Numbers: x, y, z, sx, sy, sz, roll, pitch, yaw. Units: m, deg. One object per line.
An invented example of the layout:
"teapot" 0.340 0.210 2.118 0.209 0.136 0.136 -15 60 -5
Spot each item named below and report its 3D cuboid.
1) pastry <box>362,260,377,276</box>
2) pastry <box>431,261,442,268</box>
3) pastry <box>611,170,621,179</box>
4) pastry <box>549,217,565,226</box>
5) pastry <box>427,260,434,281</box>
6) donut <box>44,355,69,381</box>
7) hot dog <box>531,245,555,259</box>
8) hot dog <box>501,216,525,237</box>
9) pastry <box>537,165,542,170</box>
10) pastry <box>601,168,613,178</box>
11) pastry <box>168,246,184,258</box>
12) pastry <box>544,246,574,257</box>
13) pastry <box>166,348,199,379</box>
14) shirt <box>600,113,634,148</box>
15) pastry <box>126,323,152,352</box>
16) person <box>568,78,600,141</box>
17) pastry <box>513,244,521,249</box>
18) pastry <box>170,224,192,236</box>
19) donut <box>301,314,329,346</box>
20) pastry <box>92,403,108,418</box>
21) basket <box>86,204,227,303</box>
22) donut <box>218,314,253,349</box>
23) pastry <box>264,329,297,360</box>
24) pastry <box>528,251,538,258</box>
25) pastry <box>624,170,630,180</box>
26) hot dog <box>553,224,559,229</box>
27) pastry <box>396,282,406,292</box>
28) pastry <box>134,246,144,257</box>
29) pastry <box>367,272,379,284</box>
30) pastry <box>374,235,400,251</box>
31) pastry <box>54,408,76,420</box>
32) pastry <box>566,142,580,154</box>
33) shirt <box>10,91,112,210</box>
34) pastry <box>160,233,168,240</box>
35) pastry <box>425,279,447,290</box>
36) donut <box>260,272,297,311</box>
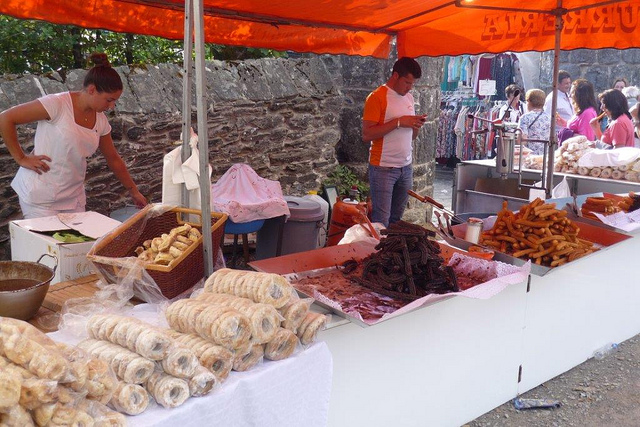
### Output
"pastry" 0.307 0.341 3.005 0.092 0.090 0.030 -28 -36 13
"pastry" 0.721 0.316 2.940 0.036 0.041 0.048 -1 -1 -2
"pastry" 3.843 -0.513 6.160 0.095 0.069 0.093 -16 35 -7
"pastry" 1.812 0.056 3.647 0.128 0.055 0.038 -3 15 -11
"pastry" 0.683 0.345 2.915 0.034 0.114 0.054 -1 15 -3
"donut" -0.932 0.547 1.681 0.026 0.078 0.079 -9 5 45
"hot dog" 1.636 0.288 3.480 0.166 0.098 0.040 -5 15 -17
"hot dog" 1.482 0.097 3.650 0.067 0.050 0.192 3 36 -20
"pastry" 3.186 -0.675 6.876 0.061 0.016 0.062 -42 42 -23
"pastry" 3.777 -0.538 6.256 0.116 0.113 0.105 1 31 -5
"pastry" -0.820 0.207 2.691 0.062 0.025 0.062 -18 32 -27
"pastry" 1.751 0.287 3.488 0.188 0.076 0.051 -2 15 -7
"pastry" -0.564 0.620 1.960 0.118 0.122 0.142 2 -6 -18
"shirt" 4.277 -1.200 6.770 0.403 0.470 0.404 8 16 29
"pastry" -0.773 0.515 2.007 0.095 0.100 0.111 10 -1 -33
"person" 4.101 -1.617 7.398 0.430 0.947 0.964 7 16 26
"pastry" 1.488 0.245 3.581 0.038 0.028 0.037 12 -8 17
"pastry" -0.824 0.090 2.822 0.081 0.032 0.065 -24 21 -30
"donut" -0.031 0.570 2.348 0.133 0.045 0.132 -46 -6 -20
"pastry" -0.832 0.743 1.793 0.036 0.051 0.062 1 14 7
"basket" -0.919 0.196 2.872 0.598 0.332 0.700 7 34 21
"donut" -0.368 0.510 2.081 0.145 0.141 0.145 -6 -11 41
"pastry" -0.176 0.626 2.260 0.111 0.138 0.140 4 -20 33
"pastry" 1.568 0.305 3.494 0.061 0.046 0.054 2 14 11
"pastry" 3.930 -0.501 6.075 0.044 0.129 0.072 -1 14 -2
"hot dog" 1.804 0.098 3.636 0.032 0.015 0.032 15 17 40
"pastry" 0.489 0.446 2.858 0.065 0.050 0.035 -4 15 -16
"pastry" -1.069 0.229 2.819 0.038 0.049 0.045 0 11 16
"pastry" 0.330 0.402 2.941 0.054 0.053 0.016 28 -3 23
"pastry" 0.430 0.185 3.037 0.159 0.118 0.051 11 18 38
"pastry" -0.915 0.722 1.705 0.062 0.042 0.019 -7 16 -25
"pastry" 3.495 -0.907 6.547 0.137 0.137 0.081 -1 14 -1
"shirt" -2.106 -0.500 3.928 0.709 0.972 0.350 -10 17 -32
"pastry" -0.912 0.135 2.795 0.038 0.032 0.037 0 6 -36
"pastry" 0.715 0.430 2.915 0.160 0.052 0.034 -7 16 -26
"donut" -0.197 0.381 2.267 0.186 0.170 0.098 -12 19 -40
